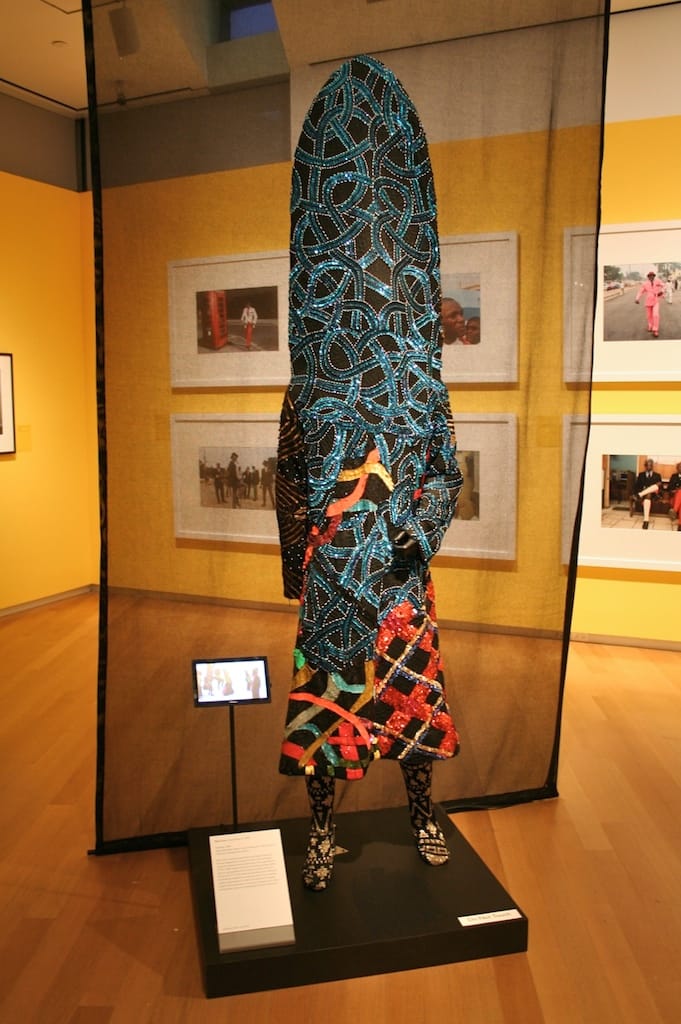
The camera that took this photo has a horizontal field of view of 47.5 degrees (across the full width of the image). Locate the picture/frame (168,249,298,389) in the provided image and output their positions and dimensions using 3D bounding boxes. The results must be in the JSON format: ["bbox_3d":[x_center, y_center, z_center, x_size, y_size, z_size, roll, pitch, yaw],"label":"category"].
[{"bbox_3d":[-0.279,-0.510,1.981,0.385,0.389,0.031,0,10,8],"label":"picture/frame"}]

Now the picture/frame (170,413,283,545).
[{"bbox_3d":[-0.315,-0.090,2.053,0.319,0.345,0.027,-1,4,-7],"label":"picture/frame"}]

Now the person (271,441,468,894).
[{"bbox_3d":[0.060,0.341,1.660,0.375,0.942,0.270,0,4,-3],"label":"person"}]

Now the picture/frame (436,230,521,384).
[{"bbox_3d":[0.334,-0.575,2.176,0.330,0.463,0.055,2,50,12],"label":"picture/frame"}]
